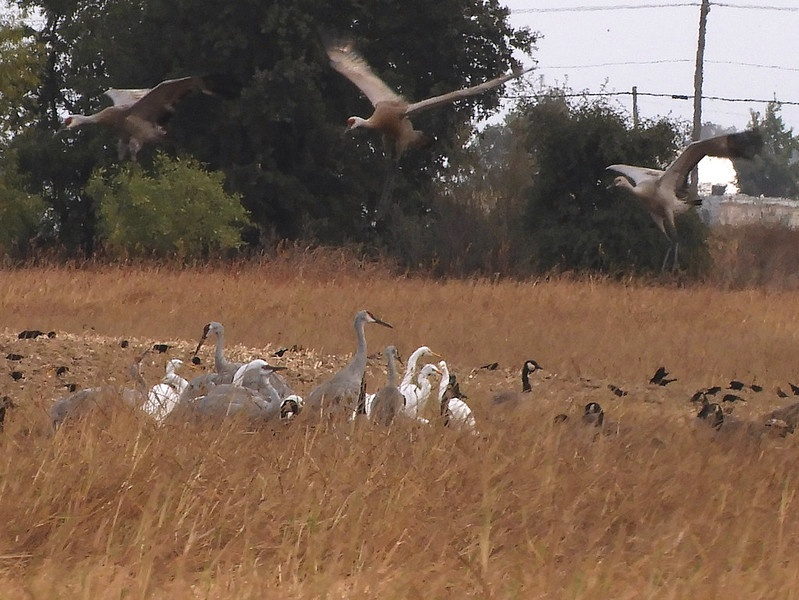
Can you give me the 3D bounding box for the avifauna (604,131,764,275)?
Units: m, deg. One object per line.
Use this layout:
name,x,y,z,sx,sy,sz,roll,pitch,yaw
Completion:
avifauna,6.627,-2.285,40.090,3.173,3.769,6.013,-9,7,-28
